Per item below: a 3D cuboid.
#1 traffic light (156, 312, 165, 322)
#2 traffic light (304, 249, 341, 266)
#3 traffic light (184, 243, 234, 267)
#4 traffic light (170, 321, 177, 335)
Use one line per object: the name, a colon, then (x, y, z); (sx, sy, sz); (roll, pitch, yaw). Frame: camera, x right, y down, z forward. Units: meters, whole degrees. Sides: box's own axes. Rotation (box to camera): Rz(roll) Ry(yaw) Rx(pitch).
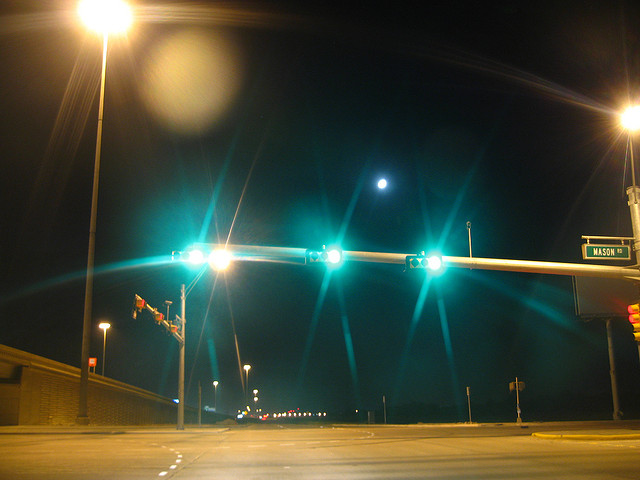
traffic light: (-9.250, 4.477, 36.445); (0.403, 0.536, 0.435); (3, -9, -15)
traffic light: (0.133, 0.677, 24.038); (1.332, 0.554, 0.447); (1, -26, -6)
traffic light: (-4.089, 0.551, 23.611); (1.803, 0.853, 0.508); (-3, -25, 1)
traffic light: (-9.109, 5.429, 38.757); (0.459, 0.756, 0.476); (-1, 0, 32)
